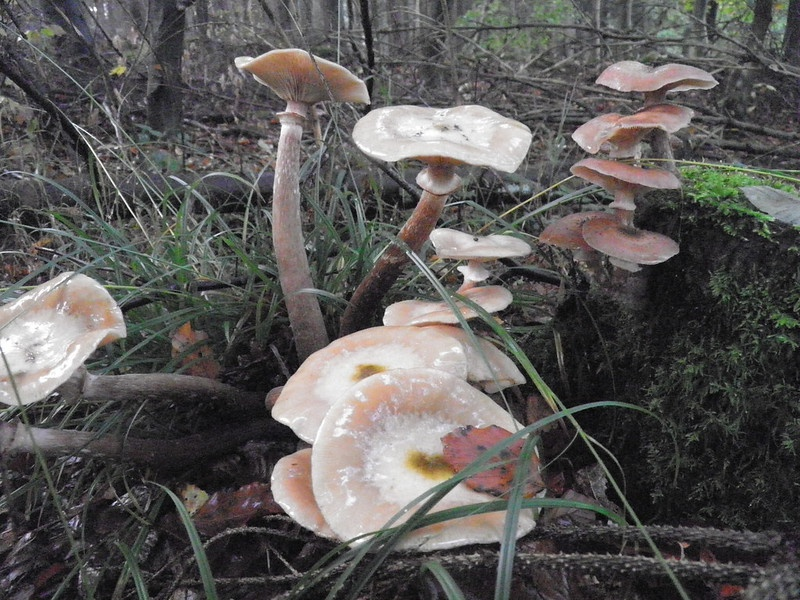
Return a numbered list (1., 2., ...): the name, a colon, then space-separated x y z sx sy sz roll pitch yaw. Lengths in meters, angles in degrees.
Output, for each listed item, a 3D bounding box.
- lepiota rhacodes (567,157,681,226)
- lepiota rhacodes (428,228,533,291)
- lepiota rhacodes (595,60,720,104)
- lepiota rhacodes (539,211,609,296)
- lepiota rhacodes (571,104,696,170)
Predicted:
1. lepiota rhacodes: 1.479 -0.705 4.922 0.714 0.214 0.695 10 2 30
2. lepiota rhacodes: 0.543 -0.205 5.202 0.590 0.420 0.548 -16 31 -41
3. lepiota rhacodes: 1.683 -1.390 4.920 0.651 0.200 0.664 -8 22 -30
4. lepiota rhacodes: 1.220 -0.309 5.102 0.656 0.517 0.449 -6 49 12
5. lepiota rhacodes: 1.474 -1.087 4.781 0.548 0.170 0.498 -25 16 -28
